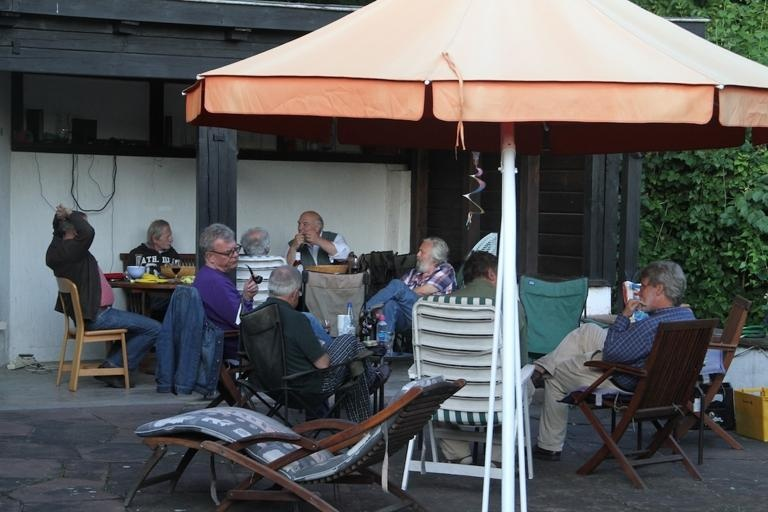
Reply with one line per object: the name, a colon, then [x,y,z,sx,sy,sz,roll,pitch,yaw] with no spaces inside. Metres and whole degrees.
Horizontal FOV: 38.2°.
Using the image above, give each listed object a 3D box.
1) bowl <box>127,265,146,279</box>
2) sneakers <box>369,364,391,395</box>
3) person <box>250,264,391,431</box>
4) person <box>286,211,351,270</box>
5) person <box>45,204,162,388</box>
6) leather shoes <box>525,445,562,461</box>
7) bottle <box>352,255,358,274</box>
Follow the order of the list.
bowl: [-2.595,0.163,11.555,0.132,0.110,0.136,2,-3,0]
sneakers: [-0.018,0.996,9.066,0.133,0.247,0.100,9,-21,24]
person: [-0.548,0.732,9.274,1.221,1.564,0.865,-3,2,-37]
person: [-0.753,-0.172,12.133,0.503,0.784,0.390,-6,-11,-5]
person: [-2.797,0.423,11.000,1.004,1.859,0.863,-3,4,-36]
leather shoes: [1.315,1.613,8.982,0.251,0.118,0.100,7,2,10]
bottle: [-0.309,0.079,11.832,0.091,0.105,0.158,0,-6,-1]
